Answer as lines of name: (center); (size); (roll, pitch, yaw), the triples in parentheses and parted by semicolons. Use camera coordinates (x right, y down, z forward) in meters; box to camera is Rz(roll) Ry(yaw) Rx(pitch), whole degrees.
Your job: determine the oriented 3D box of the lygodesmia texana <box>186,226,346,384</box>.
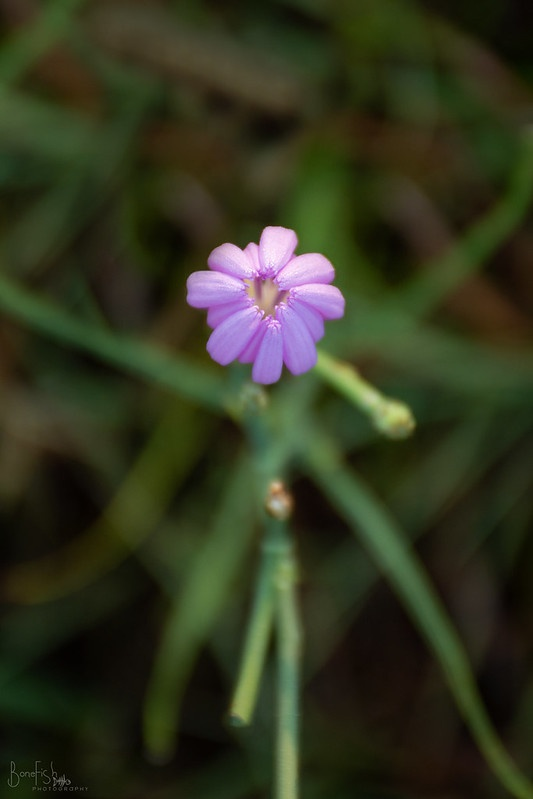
lygodesmia texana: (0.002, -0.067, 0.535); (0.095, 0.077, 0.087); (-18, 48, -27)
